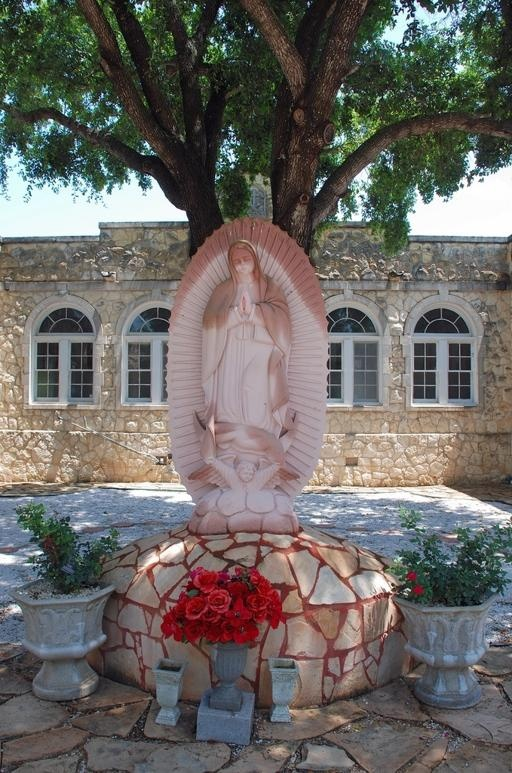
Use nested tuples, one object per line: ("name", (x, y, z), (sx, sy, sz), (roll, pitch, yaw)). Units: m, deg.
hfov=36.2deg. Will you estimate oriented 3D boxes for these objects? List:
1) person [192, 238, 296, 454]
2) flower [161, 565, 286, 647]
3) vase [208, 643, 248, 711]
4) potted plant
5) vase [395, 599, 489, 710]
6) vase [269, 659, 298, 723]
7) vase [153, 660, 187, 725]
("person", (-0.050, -0.256, 4.999), (0.586, 1.329, 0.293), (0, 2, -1))
("flower", (-0.150, 1.069, 3.934), (0.424, 0.237, 0.428), (1, 9, 0))
("vase", (-0.145, 1.407, 3.891), (0.189, 0.342, 0.162), (0, 2, -1))
("potted plant", (-1.044, 1.147, 4.352), (0.570, 0.969, 0.644), (-1, 2, -12))
("vase", (1.024, 1.461, 4.198), (0.407, 0.416, 0.341), (20, -12, -14))
("vase", (0.141, 1.522, 3.992), (0.140, 0.305, 0.177), (0, 2, 4))
("vase", (-0.435, 1.550, 3.954), (0.168, 0.230, 0.171), (3, -8, -8))
